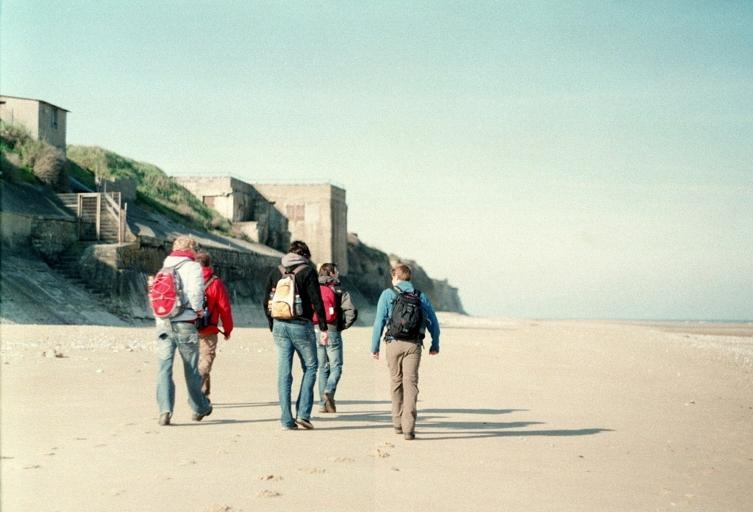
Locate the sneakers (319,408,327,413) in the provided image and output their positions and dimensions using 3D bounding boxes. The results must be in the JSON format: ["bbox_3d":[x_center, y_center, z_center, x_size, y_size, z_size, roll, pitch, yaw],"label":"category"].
[{"bbox_3d":[-1.077,3.094,23.848,0.134,0.143,0.097,0,0,7],"label":"sneakers"}]

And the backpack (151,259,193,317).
[{"bbox_3d":[-3.953,0.601,22.407,0.724,1.115,0.435,-1,13,-12],"label":"backpack"}]

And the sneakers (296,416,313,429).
[{"bbox_3d":[-1.359,3.202,22.605,0.413,0.149,0.184,25,16,30],"label":"sneakers"}]

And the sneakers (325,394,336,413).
[{"bbox_3d":[-0.941,2.952,23.779,0.152,0.464,0.190,-14,-2,3],"label":"sneakers"}]

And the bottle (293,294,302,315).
[{"bbox_3d":[-1.494,0.912,22.540,0.160,0.386,0.145,2,12,0],"label":"bottle"}]

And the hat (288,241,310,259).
[{"bbox_3d":[-1.532,-0.154,23.069,0.290,0.396,0.400,1,-7,10],"label":"hat"}]

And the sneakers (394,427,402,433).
[{"bbox_3d":[0.423,3.329,22.614,0.107,0.105,0.109,1,5,6],"label":"sneakers"}]
